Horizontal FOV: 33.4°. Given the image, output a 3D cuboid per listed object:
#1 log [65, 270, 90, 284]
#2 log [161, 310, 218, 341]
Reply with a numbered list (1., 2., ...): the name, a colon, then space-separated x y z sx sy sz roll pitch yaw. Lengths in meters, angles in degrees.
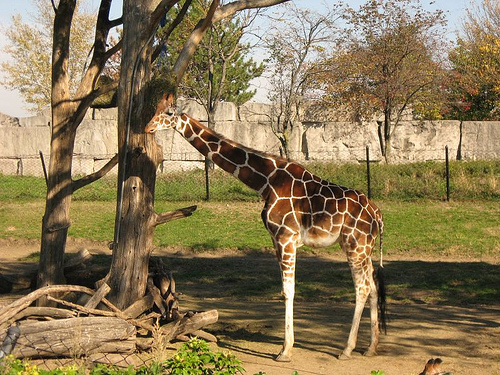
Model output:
1. log: -4.649 2.369 22.395 0.434 0.109 0.430 -16 35 5
2. log: -1.399 3.249 20.270 1.089 0.383 0.684 -9 38 -14
